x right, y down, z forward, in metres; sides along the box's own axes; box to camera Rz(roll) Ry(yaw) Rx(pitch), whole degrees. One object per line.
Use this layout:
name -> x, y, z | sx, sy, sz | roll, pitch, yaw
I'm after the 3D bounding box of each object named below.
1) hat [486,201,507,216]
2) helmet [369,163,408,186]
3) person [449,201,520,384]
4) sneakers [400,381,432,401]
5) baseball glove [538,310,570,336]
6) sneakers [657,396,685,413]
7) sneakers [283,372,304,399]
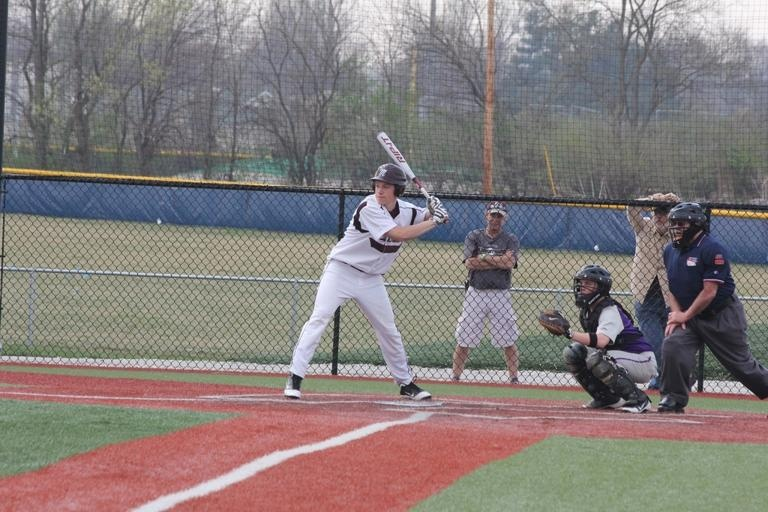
hat -> 1.935, -0.790, 19.390 | 0.312, 0.282, 0.216 | -1, 5, 4
helmet -> 0.104, -1.247, 17.707 | 0.435, 0.229, 0.337 | 10, 2, -7
person -> 1.763, 0.669, 19.468 | 1.121, 3.132, 0.533 | -1, 5, 5
sneakers -> 0.458, 2.206, 17.977 | 0.596, 0.281, 0.224 | -1, 0, 25
baseball glove -> 2.705, 1.063, 17.758 | 0.461, 0.245, 0.335 | 34, 15, 6
sneakers -> 4.481, 2.380, 17.762 | 0.533, 0.228, 0.196 | 9, -5, -20
sneakers -> -1.454, 2.053, 17.539 | 0.290, 0.417, 0.194 | -1, 5, 8
